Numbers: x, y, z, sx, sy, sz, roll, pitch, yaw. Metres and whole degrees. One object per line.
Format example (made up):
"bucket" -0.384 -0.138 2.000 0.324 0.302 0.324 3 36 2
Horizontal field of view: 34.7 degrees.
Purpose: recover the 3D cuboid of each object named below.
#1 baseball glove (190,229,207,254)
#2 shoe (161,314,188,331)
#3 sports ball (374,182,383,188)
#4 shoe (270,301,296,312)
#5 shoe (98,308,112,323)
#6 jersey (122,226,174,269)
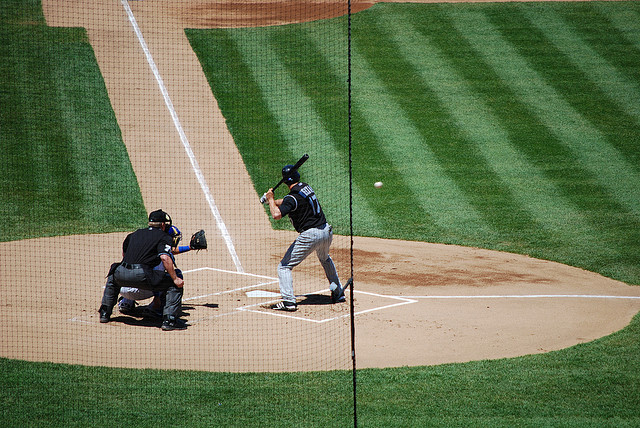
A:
"baseball glove" -2.778 0.653 23.700 0.377 0.328 0.442 11 -27 -18
"shoe" -3.328 2.456 23.103 0.264 0.258 0.712 5 7 39
"sports ball" 1.607 -0.801 28.639 0.186 0.081 0.170 -5 -5 0
"shoe" -0.836 2.150 23.807 0.595 0.215 0.199 3 3 8
"shoe" -4.869 2.291 23.227 0.279 0.314 0.206 -3 19 -11
"jersey" -3.886 0.747 23.041 0.885 0.977 0.917 9 -12 -31
